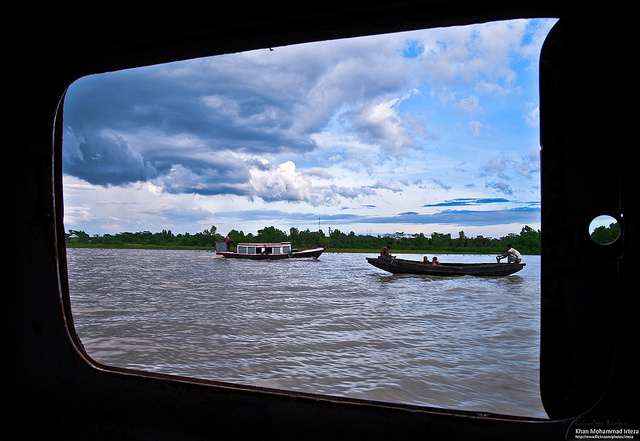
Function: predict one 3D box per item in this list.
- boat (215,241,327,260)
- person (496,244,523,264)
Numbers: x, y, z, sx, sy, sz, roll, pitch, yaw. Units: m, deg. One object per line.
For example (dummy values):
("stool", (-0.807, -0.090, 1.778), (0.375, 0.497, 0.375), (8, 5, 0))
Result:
("boat", (-4.962, 2.855, 47.325), (9.890, 1.802, 2.590), (-3, -4, 22))
("person", (7.762, 1.371, 20.243), (0.619, 0.839, 2.172), (-3, -1, 27))
